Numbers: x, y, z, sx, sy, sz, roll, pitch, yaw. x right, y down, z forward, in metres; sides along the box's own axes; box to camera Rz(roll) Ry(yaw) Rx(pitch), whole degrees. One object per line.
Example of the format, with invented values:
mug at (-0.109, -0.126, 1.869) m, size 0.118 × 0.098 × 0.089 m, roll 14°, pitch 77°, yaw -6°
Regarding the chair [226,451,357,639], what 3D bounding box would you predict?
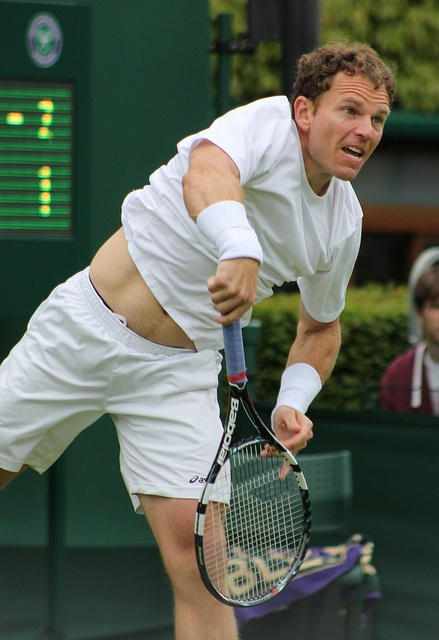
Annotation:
chair at (0.133, 0.659, 2.727) m, size 0.333 × 0.501 × 0.358 m, roll -13°, pitch 33°, yaw -7°
